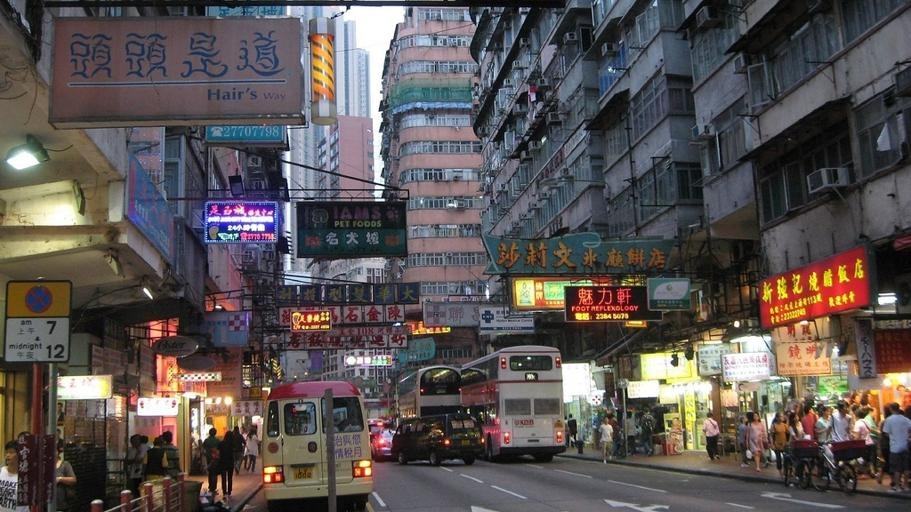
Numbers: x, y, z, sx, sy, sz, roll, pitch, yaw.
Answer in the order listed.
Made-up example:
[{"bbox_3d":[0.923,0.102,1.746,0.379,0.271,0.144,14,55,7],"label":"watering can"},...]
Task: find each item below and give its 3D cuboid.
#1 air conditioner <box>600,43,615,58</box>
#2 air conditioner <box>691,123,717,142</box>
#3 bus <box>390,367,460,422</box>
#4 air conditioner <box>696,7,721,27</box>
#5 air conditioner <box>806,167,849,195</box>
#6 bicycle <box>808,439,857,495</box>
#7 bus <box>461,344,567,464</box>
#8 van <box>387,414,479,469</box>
[{"bbox_3d":[7.449,-10.042,53.830,0.589,0.662,1.071,1,-8,-2],"label":"air conditioner"},{"bbox_3d":[10.377,-5.239,46.017,0.701,0.855,1.238,-3,1,-19],"label":"air conditioner"},{"bbox_3d":[-1.502,7.284,59.536,1.998,2.298,5.467,1,-5,-13],"label":"bus"},{"bbox_3d":[10.413,-9.898,45.274,0.630,0.751,1.143,1,-6,-5],"label":"air conditioner"},{"bbox_3d":[13.083,-2.718,38.774,1.013,0.821,1.536,7,-9,-14],"label":"air conditioner"},{"bbox_3d":[12.465,6.926,36.178,1.103,1.667,1.157,0,-1,-22],"label":"bicycle"},{"bbox_3d":[2.752,6.593,50.350,3.623,4.468,9.485,0,-5,-8],"label":"bus"},{"bbox_3d":[-0.882,8.780,52.141,2.491,2.007,5.529,5,-13,-31],"label":"van"}]
